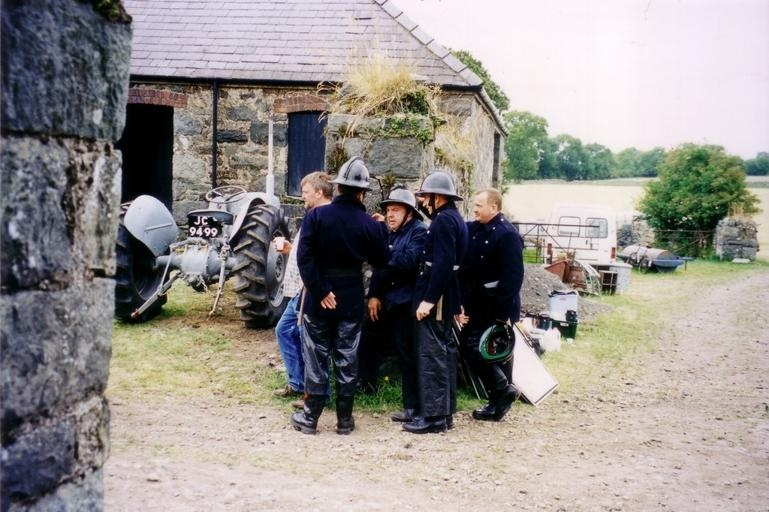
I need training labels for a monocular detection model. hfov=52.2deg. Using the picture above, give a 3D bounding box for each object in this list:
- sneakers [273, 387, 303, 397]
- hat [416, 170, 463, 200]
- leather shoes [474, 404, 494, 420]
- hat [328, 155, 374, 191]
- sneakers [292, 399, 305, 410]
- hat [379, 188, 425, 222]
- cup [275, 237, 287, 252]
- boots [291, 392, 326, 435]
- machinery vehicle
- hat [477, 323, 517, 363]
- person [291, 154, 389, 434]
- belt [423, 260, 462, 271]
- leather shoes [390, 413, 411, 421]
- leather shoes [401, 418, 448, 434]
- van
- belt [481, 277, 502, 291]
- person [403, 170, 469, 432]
[{"bbox_3d":[-0.893,1.277,7.359,0.279,0.116,0.108,6,2,6],"label":"sneakers"},{"bbox_3d":[0.519,-0.617,7.028,0.334,0.185,0.262,2,2,-7],"label":"hat"},{"bbox_3d":[0.931,1.432,7.193,0.184,0.119,0.110,6,-4,10],"label":"leather shoes"},{"bbox_3d":[-0.267,-0.685,6.726,0.271,0.208,0.319,15,20,23],"label":"hat"},{"bbox_3d":[-0.771,1.345,7.105,0.096,0.048,0.145,1,3,-11],"label":"sneakers"},{"bbox_3d":[0.202,-0.434,7.189,0.266,0.180,0.355,12,-4,39],"label":"hat"},{"bbox_3d":[-0.937,-0.098,7.139,0.118,0.118,0.123,-2,-12,0],"label":"cup"},{"bbox_3d":[-0.645,1.325,6.766,0.196,0.371,0.371,1,9,-38],"label":"boots"},{"bbox_3d":[-1.937,-0.058,9.723,2.091,1.419,2.831,2,7,17],"label":"machinery vehicle"},{"bbox_3d":[1.025,0.780,7.064,0.398,0.397,0.151,-1,13,-20],"label":"hat"},{"bbox_3d":[-0.357,0.342,6.684,0.767,2.293,0.562,-6,16,-39],"label":"person"},{"bbox_3d":[0.509,0.100,6.790,0.316,0.092,0.239,3,12,-6],"label":"belt"},{"bbox_3d":[0.150,1.450,7.050,0.165,0.069,0.064,4,0,12],"label":"leather shoes"},{"bbox_3d":[0.364,1.470,6.874,0.419,0.175,0.147,4,-4,-1],"label":"leather shoes"},{"bbox_3d":[3.741,-0.181,14.588,1.214,1.207,2.256,1,1,8],"label":"van"},{"bbox_3d":[0.971,0.269,7.173,0.130,0.081,0.147,4,12,2],"label":"belt"},{"bbox_3d":[0.472,0.417,6.872,0.455,2.164,0.716,4,12,2],"label":"person"}]
